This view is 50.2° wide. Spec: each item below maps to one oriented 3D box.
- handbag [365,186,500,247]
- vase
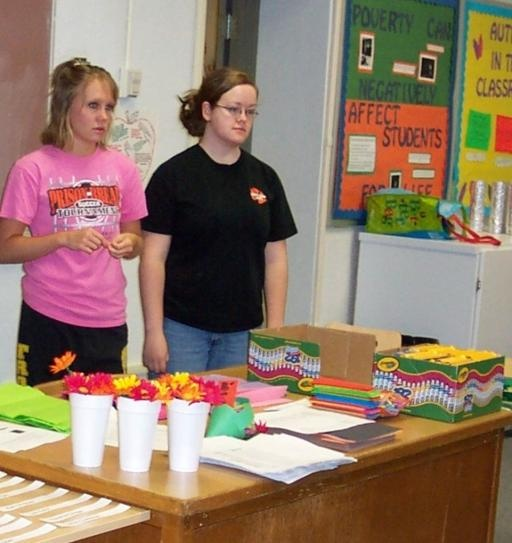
[{"bbox_3d":[1.059,-0.337,3.441,0.657,0.218,0.415,5,1,25],"label":"handbag"},{"bbox_3d":[-0.179,0.247,0.829,0.152,0.067,0.048,3,-6,-5],"label":"vase"}]
